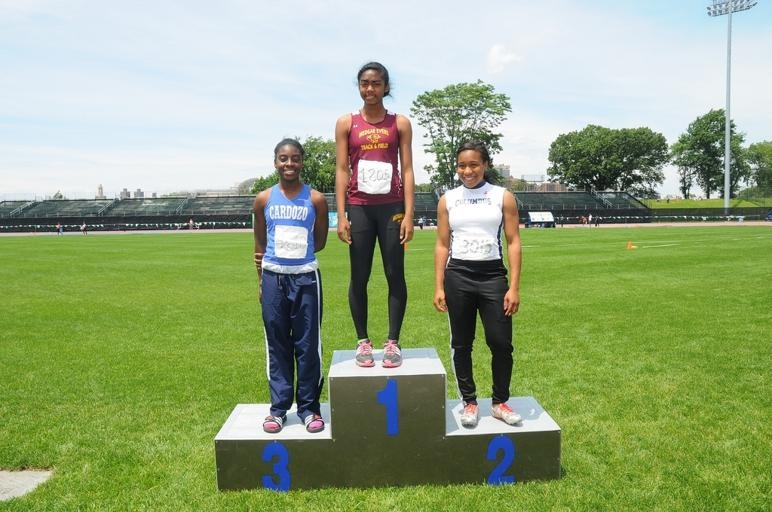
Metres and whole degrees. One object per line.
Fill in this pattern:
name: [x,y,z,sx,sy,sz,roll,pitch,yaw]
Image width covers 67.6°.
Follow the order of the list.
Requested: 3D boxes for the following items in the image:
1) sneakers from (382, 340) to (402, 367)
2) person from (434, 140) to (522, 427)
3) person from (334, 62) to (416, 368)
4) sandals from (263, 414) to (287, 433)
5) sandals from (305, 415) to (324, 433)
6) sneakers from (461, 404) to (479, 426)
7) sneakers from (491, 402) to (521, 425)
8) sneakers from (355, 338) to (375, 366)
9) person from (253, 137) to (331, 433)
sneakers: [0.058,1.036,6.102,0.211,0.186,0.397,-1,13,1]
person: [0.997,0.241,6.073,0.882,2.790,1.106,-4,14,-13]
person: [-0.108,-0.438,6.315,0.860,3.250,1.120,-3,13,-6]
sandals: [-1.153,1.710,5.886,0.213,0.125,0.209,-3,14,-7]
sandals: [-0.733,1.721,5.899,0.205,0.121,0.177,-4,14,-12]
sneakers: [0.865,1.630,5.955,0.175,0.157,0.301,1,14,10]
sneakers: [1.228,1.626,5.934,0.124,0.143,0.337,-3,0,-28]
sneakers: [-0.234,1.039,6.122,0.207,0.191,0.419,-2,14,-5]
person: [-0.991,0.258,6.069,0.808,2.874,1.126,-3,13,-8]
